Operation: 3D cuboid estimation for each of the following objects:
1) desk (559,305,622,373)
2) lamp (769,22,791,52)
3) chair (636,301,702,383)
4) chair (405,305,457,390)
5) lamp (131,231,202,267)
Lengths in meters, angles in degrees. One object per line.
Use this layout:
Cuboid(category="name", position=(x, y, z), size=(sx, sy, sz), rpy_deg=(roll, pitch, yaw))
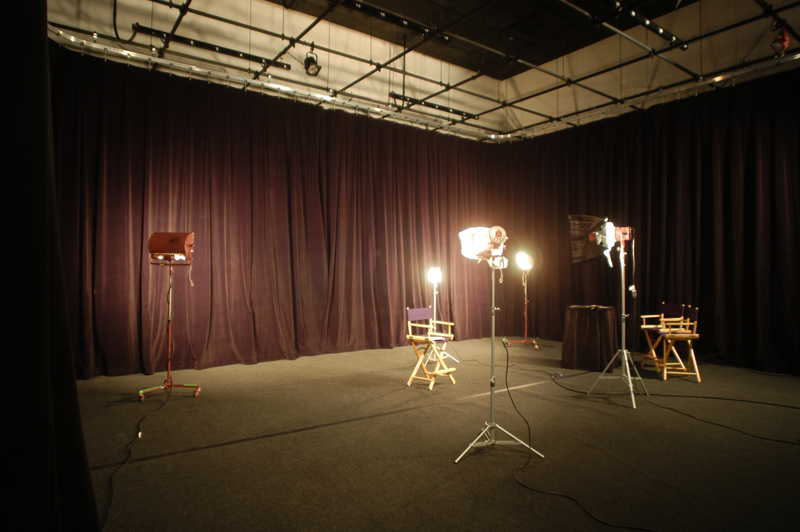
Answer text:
Cuboid(category="desk", position=(3.391, 1.219, 9.938), size=(0.932, 1.409, 0.969), rpy_deg=(1, -2, -7))
Cuboid(category="lamp", position=(6.376, -3.745, 9.608), size=(0.261, 0.453, 0.758), rpy_deg=(8, 16, 31))
Cuboid(category="chair", position=(4.668, 1.309, 9.876), size=(0.422, 0.933, 1.063), rpy_deg=(0, -3, 9))
Cuboid(category="chair", position=(0.509, 1.300, 9.262), size=(0.769, 1.234, 0.825), rpy_deg=(0, 1, 22))
Cuboid(category="lamp", position=(-3.366, -0.254, 8.491), size=(0.552, 0.481, 0.415), rpy_deg=(1, -6, 1))
